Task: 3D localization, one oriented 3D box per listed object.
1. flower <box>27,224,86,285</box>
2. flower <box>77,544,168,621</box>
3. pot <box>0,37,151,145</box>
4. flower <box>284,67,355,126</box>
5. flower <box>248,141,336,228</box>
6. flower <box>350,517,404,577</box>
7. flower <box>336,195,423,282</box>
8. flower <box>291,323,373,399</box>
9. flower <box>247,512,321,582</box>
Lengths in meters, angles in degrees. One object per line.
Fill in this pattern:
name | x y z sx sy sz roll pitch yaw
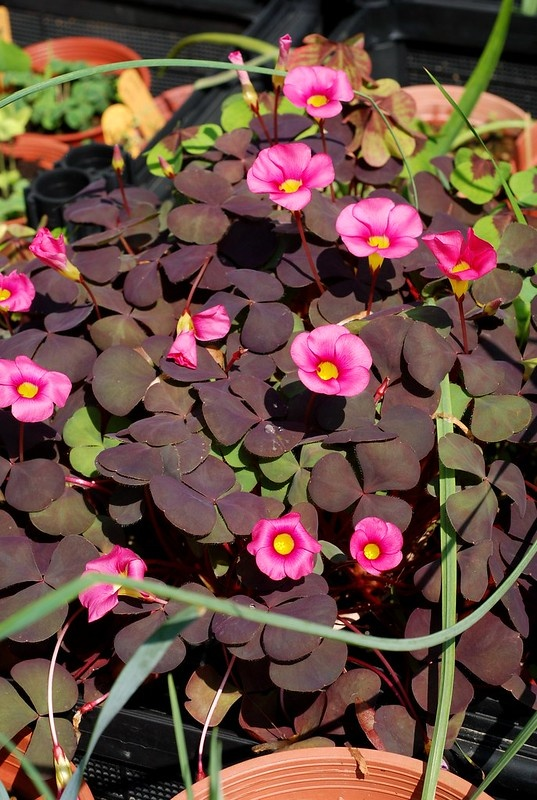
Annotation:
flower | -0.241 -0.174 0.789 0.043 0.076 0.037 -53 36 -13
flower | -0.149 0.176 0.661 0.081 0.036 0.089 -19 44 -12
pot | -0.782 -1.339 2.880 0.438 0.424 0.708 -8 39 -21
flower | 0.066 -0.408 0.863 0.096 0.041 0.081 -6 19 -27
flower | 0.026 -0.250 0.762 0.100 0.096 0.041 -20 73 23
flower | 0.106 0.151 0.664 0.053 0.026 0.058 33 53 6
flower | 0.118 -0.176 0.765 0.084 0.062 0.080 -30 70 -15
flower | 0.069 -0.033 0.685 0.077 0.037 0.077 -29 71 -23
flower | 0.020 0.140 0.656 0.084 0.028 0.081 -2 11 -2
